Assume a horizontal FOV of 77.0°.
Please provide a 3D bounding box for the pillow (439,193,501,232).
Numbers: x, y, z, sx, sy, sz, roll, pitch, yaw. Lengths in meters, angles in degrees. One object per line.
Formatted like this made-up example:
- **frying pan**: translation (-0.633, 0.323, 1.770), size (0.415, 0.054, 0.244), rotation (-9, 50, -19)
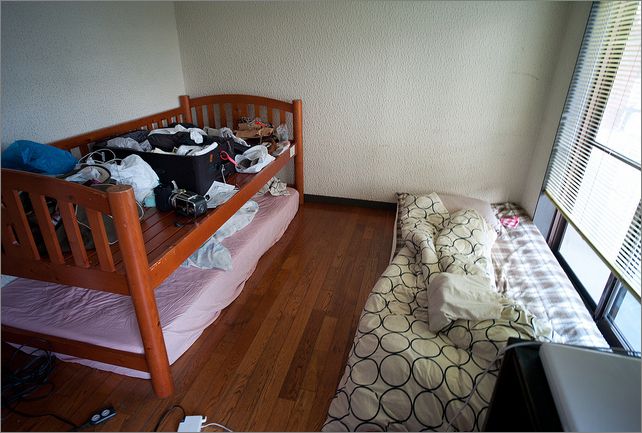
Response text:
- **pillow**: translation (1.369, -0.102, 3.770), size (0.440, 0.295, 0.574), rotation (5, 19, -3)

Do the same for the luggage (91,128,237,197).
- **luggage**: translation (-1.160, -0.442, 2.942), size (0.827, 0.264, 0.494), rotation (12, 35, 12)
